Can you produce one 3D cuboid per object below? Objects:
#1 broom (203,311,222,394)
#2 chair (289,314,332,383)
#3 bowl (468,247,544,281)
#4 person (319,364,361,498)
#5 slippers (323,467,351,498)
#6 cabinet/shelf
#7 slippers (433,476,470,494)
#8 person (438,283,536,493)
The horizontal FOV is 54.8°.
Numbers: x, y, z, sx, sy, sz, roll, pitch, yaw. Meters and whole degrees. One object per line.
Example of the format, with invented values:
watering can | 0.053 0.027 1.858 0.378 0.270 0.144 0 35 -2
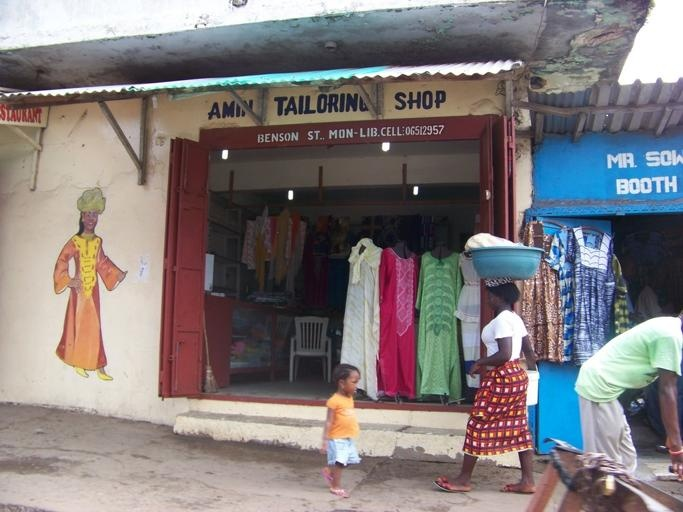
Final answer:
broom | -1.621 1.172 7.911 0.158 0.959 0.179 -5 -6 -17
chair | -0.442 1.349 9.415 0.849 1.198 0.837 0 -8 -1
bowl | 1.502 0.081 6.106 0.714 0.260 0.710 2 -4 0
person | 0.004 1.499 5.850 0.312 1.145 0.805 2 2 2
slippers | -0.076 1.963 5.745 0.370 0.156 0.115 26 2 41
cabinet/shelf | -1.556 1.201 8.995 0.551 1.125 1.941 2 -8 16
slippers | 0.965 2.002 5.751 0.267 0.078 0.138 4 -6 -1
person | 1.318 1.166 5.719 0.786 1.882 0.444 2 2 4
